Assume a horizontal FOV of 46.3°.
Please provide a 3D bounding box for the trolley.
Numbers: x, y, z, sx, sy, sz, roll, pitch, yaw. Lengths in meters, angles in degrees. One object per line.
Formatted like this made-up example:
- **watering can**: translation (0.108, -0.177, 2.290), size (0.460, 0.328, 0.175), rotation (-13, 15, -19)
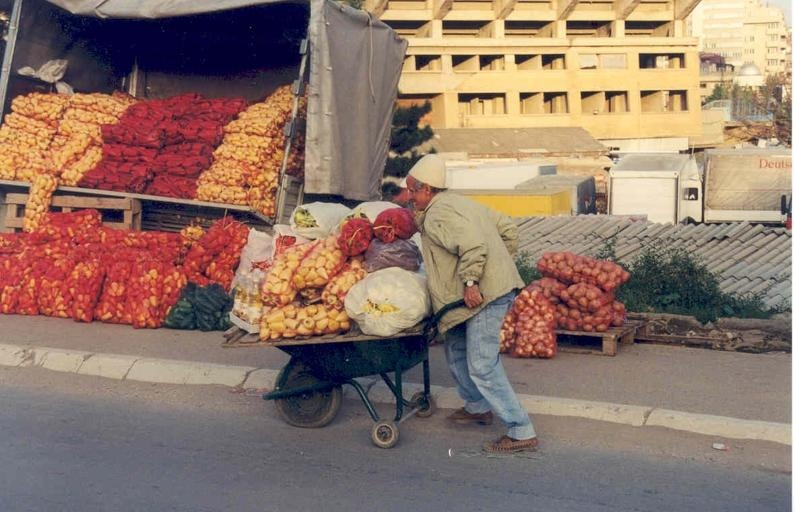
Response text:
- **trolley**: translation (-0.562, 1.591, 13.452), size (3.186, 1.879, 1.734), rotation (1, 1, 14)
